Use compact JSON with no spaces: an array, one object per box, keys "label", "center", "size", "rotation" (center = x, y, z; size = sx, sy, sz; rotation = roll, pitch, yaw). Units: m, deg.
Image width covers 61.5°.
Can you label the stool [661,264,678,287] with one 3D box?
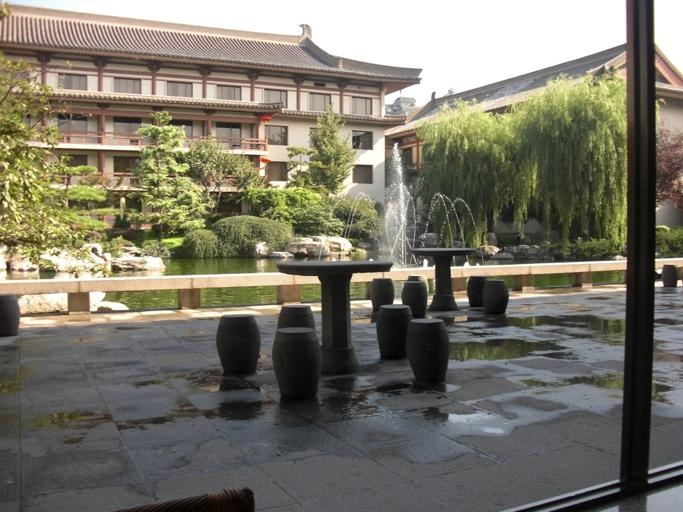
[{"label":"stool","center":[8.416,0.494,14.632],"size":[0.329,0.565,0.434],"rotation":[0,3,25]}]
